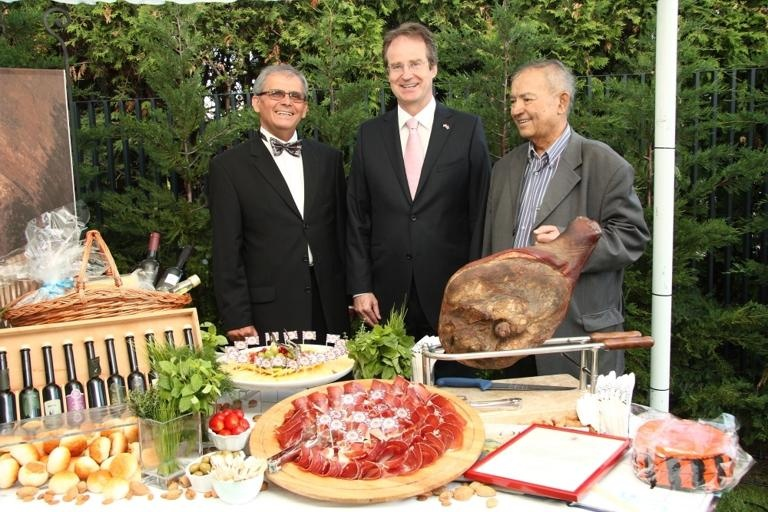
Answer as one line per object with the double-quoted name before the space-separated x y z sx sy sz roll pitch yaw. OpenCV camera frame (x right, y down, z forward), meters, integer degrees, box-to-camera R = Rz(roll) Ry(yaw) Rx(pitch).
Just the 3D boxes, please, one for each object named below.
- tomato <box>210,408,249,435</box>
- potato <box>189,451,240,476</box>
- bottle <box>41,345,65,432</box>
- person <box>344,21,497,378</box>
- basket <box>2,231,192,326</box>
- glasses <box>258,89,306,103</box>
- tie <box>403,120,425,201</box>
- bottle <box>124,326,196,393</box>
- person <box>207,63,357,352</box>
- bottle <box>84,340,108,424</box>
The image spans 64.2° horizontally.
"tomato" -0.689 0.744 2.718 0.119 0.065 0.121 7 7 19
"potato" -0.710 0.854 2.533 0.129 0.036 0.120 1 8 18
"bottle" -1.572 0.594 2.886 0.081 0.309 0.182 -6 13 -35
"person" 0.252 -0.525 4.584 1.085 2.352 0.357 -2 8 7
"basket" -1.499 0.090 3.130 0.745 0.348 0.483 0 6 -29
"glasses" -0.773 -1.195 4.590 0.370 0.086 0.138 -3 8 -4
"tie" 0.225 -0.736 4.530 0.117 0.665 0.076 -2 -9 8
"bottle" -1.019 0.462 2.926 0.317 0.297 0.252 10 15 41
"person" -0.795 -0.379 4.705 1.063 2.115 0.413 -4 9 -11
"bottle" -1.393 0.559 2.943 0.090 0.303 0.131 -7 9 -24
